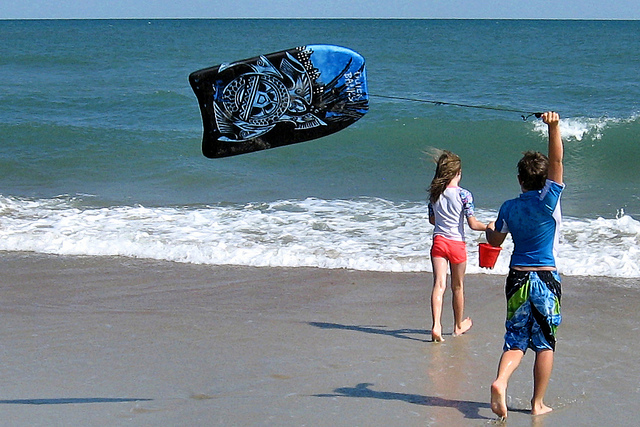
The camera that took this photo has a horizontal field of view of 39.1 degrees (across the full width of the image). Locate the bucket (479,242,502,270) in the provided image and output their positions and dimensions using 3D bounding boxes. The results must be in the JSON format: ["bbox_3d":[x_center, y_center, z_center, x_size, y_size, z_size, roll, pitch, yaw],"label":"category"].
[{"bbox_3d":[2.616,0.648,13.974,0.315,0.453,0.353,2,13,7],"label":"bucket"}]

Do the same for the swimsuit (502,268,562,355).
[{"bbox_3d":[3.132,1.420,13.298,0.790,1.236,0.395,2,15,8],"label":"swimsuit"}]
